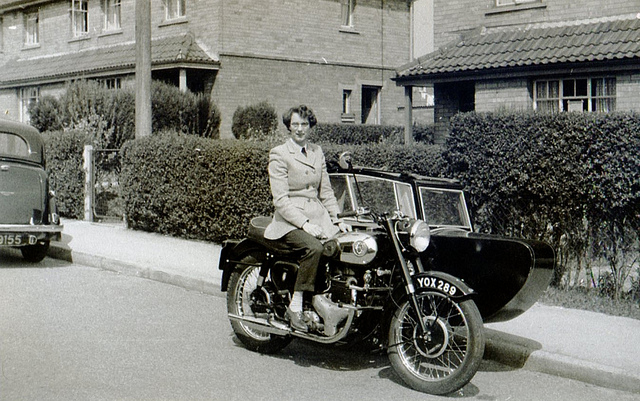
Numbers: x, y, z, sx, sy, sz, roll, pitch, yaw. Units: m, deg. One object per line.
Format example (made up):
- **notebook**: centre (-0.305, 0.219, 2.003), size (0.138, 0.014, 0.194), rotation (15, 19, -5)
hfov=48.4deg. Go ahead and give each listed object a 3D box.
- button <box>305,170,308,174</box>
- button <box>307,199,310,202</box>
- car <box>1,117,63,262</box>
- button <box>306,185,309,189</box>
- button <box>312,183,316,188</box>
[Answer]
- **button**: centre (-0.199, -0.421, 10.324), size (0.041, 0.051, 0.025), rotation (7, 5, 0)
- **button**: centre (-0.174, -0.008, 10.337), size (0.032, 0.037, 0.009), rotation (13, 15, 4)
- **car**: centre (-6.428, -0.166, 15.800), size (1.255, 1.728, 2.954), rotation (-5, 12, -35)
- **button**: centre (-0.190, -0.207, 10.351), size (0.043, 0.053, 0.020), rotation (-1, 9, -13)
- **button**: centre (-0.099, -0.233, 10.393), size (0.053, 0.062, 0.013), rotation (1, -4, -20)
